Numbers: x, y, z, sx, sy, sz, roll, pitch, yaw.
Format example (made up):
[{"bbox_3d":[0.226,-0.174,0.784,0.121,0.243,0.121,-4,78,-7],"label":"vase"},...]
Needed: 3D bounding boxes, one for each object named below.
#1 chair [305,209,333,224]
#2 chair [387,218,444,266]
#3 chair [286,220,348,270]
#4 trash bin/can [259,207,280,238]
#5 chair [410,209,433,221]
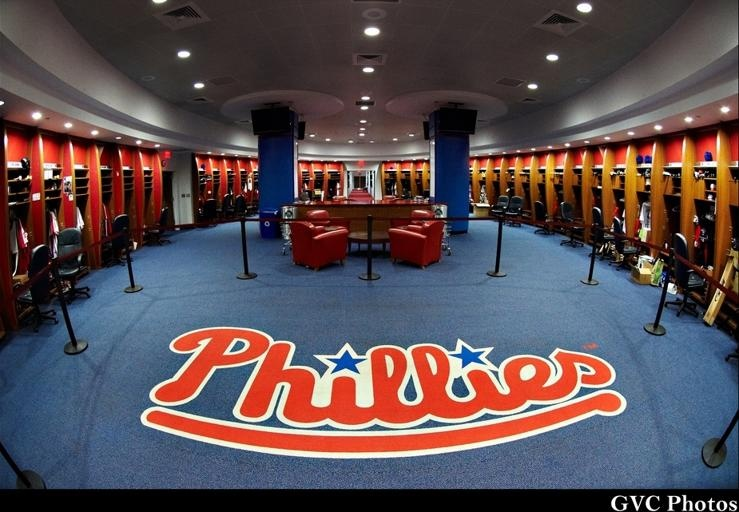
[{"bbox_3d":[-1.078,-0.840,8.390,0.450,0.508,0.486,-4,6,-38],"label":"chair"},{"bbox_3d":[0.966,-0.330,7.825,0.920,0.903,0.780,12,19,39],"label":"chair"},{"bbox_3d":[-1.025,-0.253,7.626,0.982,0.829,0.927,-9,16,-36],"label":"chair"},{"bbox_3d":[-2.766,-0.831,10.692,0.565,0.809,1.609,-5,15,-16],"label":"trash bin/can"},{"bbox_3d":[1.193,-0.915,8.667,0.382,0.441,0.379,-4,5,-44],"label":"chair"}]
